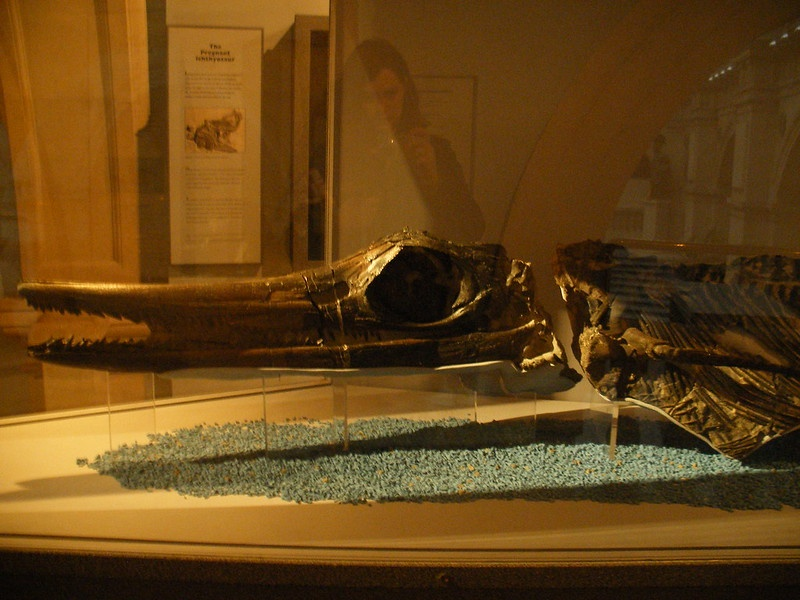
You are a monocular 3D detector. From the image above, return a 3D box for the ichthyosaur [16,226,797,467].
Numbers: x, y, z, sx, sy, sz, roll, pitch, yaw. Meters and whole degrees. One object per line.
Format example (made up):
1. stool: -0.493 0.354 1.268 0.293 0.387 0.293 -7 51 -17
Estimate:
1. ichthyosaur: 0.144 0.061 2.767 2.521 0.472 0.919 1 5 -8
